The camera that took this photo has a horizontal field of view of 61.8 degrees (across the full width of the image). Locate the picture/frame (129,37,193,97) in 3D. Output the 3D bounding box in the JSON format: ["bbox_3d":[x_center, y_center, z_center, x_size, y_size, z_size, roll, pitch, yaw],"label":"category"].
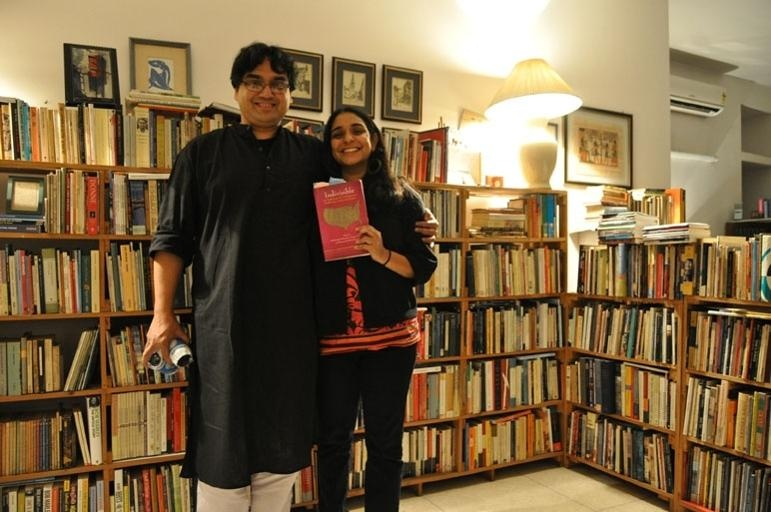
[{"bbox_3d":[-1.531,-1.252,4.379,0.373,0.428,0.035,0,-17,-24],"label":"picture/frame"}]

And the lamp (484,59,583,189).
[{"bbox_3d":[1.147,-1.016,5.124,0.813,0.978,0.794,-4,-1,5],"label":"lamp"}]

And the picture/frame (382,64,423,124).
[{"bbox_3d":[0.113,-1.228,4.916,0.479,0.552,0.041,-1,3,-24],"label":"picture/frame"}]

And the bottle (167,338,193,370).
[{"bbox_3d":[-1.007,0.481,3.216,0.125,0.127,0.136,-16,37,-20],"label":"bottle"}]

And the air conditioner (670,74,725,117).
[{"bbox_3d":[3.666,-1.875,7.589,0.812,0.550,0.186,7,-3,-20],"label":"air conditioner"}]

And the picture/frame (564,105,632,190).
[{"bbox_3d":[1.855,-0.936,5.601,0.787,0.663,0.070,0,-1,-28],"label":"picture/frame"}]
